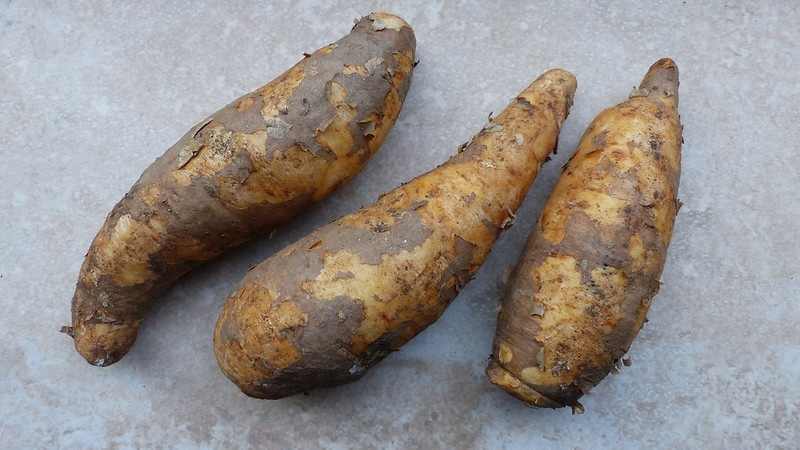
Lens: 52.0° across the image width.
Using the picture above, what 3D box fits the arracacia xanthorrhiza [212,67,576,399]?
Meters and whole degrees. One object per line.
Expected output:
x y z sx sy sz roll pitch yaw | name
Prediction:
-0.063 0.223 3.878 2.185 0.590 0.717 -41 50 2 | arracacia xanthorrhiza

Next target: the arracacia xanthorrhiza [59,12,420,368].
-0.753 -0.251 4.032 2.161 0.687 0.695 -39 76 -4 | arracacia xanthorrhiza

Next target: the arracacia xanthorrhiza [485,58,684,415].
0.877 0.112 4.041 0.937 1.159 1.333 2 92 15 | arracacia xanthorrhiza
